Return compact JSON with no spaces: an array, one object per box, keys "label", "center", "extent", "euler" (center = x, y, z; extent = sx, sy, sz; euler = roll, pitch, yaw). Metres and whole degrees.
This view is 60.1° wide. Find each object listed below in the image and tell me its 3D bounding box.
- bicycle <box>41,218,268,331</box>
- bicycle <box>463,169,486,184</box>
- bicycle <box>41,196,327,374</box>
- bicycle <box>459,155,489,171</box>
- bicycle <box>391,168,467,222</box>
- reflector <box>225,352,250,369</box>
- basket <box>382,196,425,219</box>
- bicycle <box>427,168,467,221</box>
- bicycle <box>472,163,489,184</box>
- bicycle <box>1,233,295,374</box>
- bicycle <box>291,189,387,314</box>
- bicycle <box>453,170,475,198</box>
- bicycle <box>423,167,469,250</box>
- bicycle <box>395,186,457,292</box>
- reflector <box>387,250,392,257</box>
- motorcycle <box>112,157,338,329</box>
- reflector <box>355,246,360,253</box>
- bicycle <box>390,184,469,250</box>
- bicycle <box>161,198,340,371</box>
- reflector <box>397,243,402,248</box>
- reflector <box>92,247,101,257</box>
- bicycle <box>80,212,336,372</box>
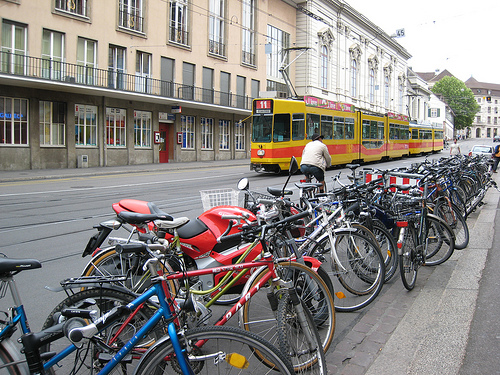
[{"label":"bicycle","center":[-0.682,0.776,3.612],"extent":[1.554,1.126,0.850],"euler":[-9,3,-1]},{"label":"bicycle","center":[5.897,-0.293,11.351],"extent":[0.369,0.155,0.285],"euler":[20,5,6]},{"label":"bicycle","center":[-0.519,0.896,3.309],"extent":[2.009,1.422,1.072],"euler":[-9,-4,-6]},{"label":"bicycle","center":[6.737,-0.743,12.925],"extent":[0.799,0.583,0.563],"euler":[-4,23,35]},{"label":"bicycle","center":[3.733,0.169,9.252],"extent":[1.543,1.120,1.056],"euler":[-12,13,31]},{"label":"reflector","center":[-0.079,1.070,2.679],"extent":[0.133,0.082,0.034],"euler":[14,0,23]},{"label":"basket","center":[2.253,0.291,6.315],"extent":[0.397,0.180,0.326],"euler":[1,3,42]},{"label":"bicycle","center":[4.142,0.145,8.944],"extent":[1.336,0.905,0.686],"euler":[-12,-6,-44]},{"label":"bicycle","center":[6.885,-0.461,12.859],"extent":[0.336,0.501,0.752],"euler":[-2,21,32]},{"label":"bicycle","center":[-0.590,0.779,3.146],"extent":[1.722,1.224,0.933],"euler":[-3,-5,9]},{"label":"bicycle","center":[0.891,0.836,5.149],"extent":[1.570,1.117,0.842],"euler":[4,3,3]},{"label":"bicycle","center":[5.212,-0.045,10.383],"extent":[0.396,0.478,0.718],"euler":[-14,17,46]},{"label":"bicycle","center":[3.609,0.457,8.025],"extent":[0.733,0.978,1.529],"euler":[-21,12,35]},{"label":"bicycle","center":[2.509,0.752,6.279],"extent":[0.689,1.175,1.854],"euler":[-8,13,37]},{"label":"reflector","center":[1.857,0.870,5.746],"extent":[0.044,0.075,0.016],"euler":[-1,-2,-1]},{"label":"motorcycle","center":[-0.261,0.559,3.782],"extent":[2.133,1.501,1.110],"euler":[4,-7,-8]},{"label":"reflector","center":[1.279,0.736,5.111],"extent":[0.064,0.067,0.012],"euler":[-5,6,-29]},{"label":"bicycle","center":[2.772,0.476,6.722],"extent":[1.152,0.783,0.572],"euler":[-26,5,-26]},{"label":"bicycle","center":[0.290,0.774,3.660],"extent":[1.798,1.325,0.910],"euler":[-4,3,-3]},{"label":"reflector","center":[1.958,0.760,5.632],"extent":[0.043,0.047,0.042],"euler":[3,-1,-39]},{"label":"reflector","center":[-1.636,0.681,4.558],"extent":[0.030,0.059,0.229],"euler":[16,-45,-25]},{"label":"bicycle","center":[-0.465,1.006,3.991],"extent":[2.382,1.703,1.240],"euler":[5,-3,3]}]
